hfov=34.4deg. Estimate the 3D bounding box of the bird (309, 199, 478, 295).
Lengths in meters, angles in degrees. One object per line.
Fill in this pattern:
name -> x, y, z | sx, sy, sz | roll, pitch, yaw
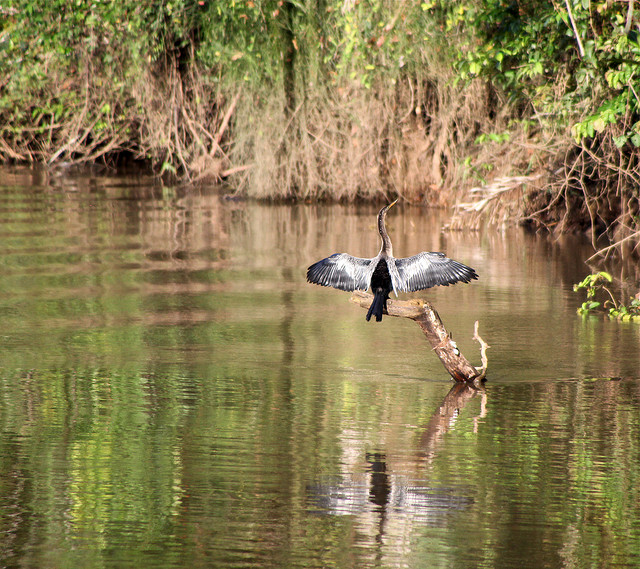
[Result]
bird -> 0.422, -0.116, 6.198 | 0.752, 0.314, 0.614 | 0, 25, 5
